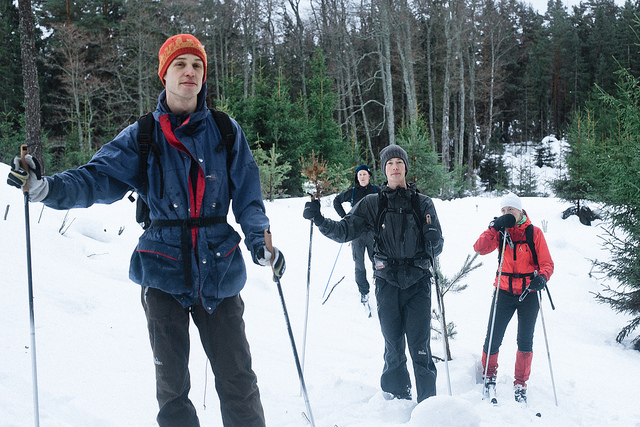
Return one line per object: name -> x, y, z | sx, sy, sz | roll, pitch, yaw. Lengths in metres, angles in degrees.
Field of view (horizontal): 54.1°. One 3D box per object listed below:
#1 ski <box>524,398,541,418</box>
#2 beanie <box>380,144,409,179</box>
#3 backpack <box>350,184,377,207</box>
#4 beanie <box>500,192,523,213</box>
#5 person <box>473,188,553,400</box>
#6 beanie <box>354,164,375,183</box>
ski -> 4.391, 4.087, 13.126 | 0.114, 0.179, 0.495 | -3, 8, -19
beanie -> 1.550, -1.163, 13.443 | 0.566, 0.639, 1.097 | 0, 8, 5
backpack -> 1.125, -0.488, 16.757 | 0.432, 0.686, 0.645 | 0, -10, 3
beanie -> 4.206, -0.262, 13.930 | 0.359, 0.439, 0.430 | 4, 1, 15
person -> 4.175, 1.733, 13.637 | 1.414, 4.212, 0.951 | 1, 7, 14
beanie -> 1.099, -1.054, 16.642 | 0.378, 0.492, 0.632 | 0, 7, 2
